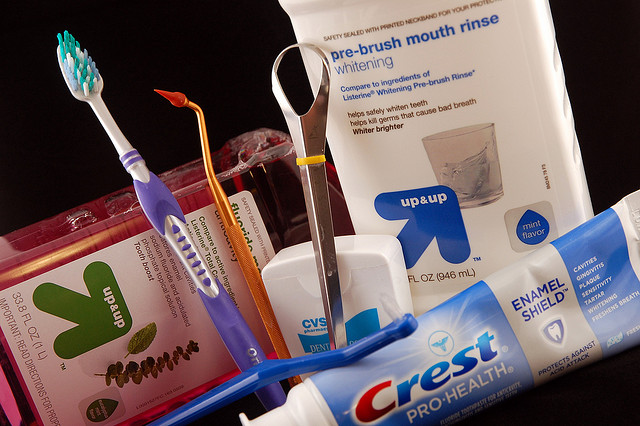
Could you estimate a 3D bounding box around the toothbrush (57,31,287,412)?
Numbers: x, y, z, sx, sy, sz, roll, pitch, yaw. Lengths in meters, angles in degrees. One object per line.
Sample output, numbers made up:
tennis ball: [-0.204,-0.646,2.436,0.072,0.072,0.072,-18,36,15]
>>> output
toothbrush: [-0.152,0.015,0.528,0.030,0.422,0.051,-32,6,-19]
